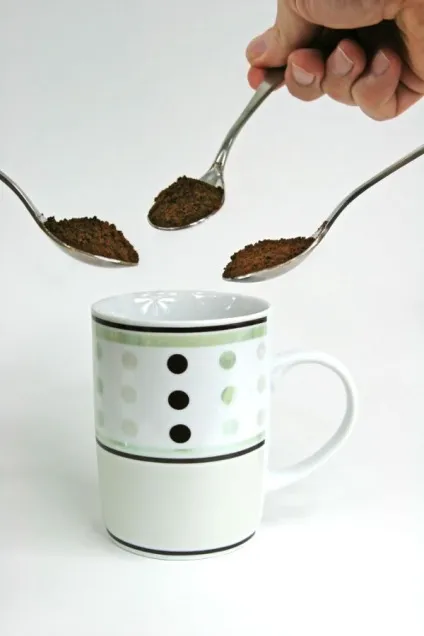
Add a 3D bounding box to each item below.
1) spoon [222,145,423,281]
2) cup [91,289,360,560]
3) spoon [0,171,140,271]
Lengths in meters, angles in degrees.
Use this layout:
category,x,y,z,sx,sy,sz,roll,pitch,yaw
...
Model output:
category,x,y,z,sx,sy,sz,roll,pitch,yaw
spoon,0.102,-0.104,0.742,0.314,0.041,0.064,-38,15,15
cup,-0.027,0.107,0.780,0.356,0.345,0.241,2,5,-1
spoon,-0.213,-0.132,0.824,0.191,0.131,0.121,2,13,6
